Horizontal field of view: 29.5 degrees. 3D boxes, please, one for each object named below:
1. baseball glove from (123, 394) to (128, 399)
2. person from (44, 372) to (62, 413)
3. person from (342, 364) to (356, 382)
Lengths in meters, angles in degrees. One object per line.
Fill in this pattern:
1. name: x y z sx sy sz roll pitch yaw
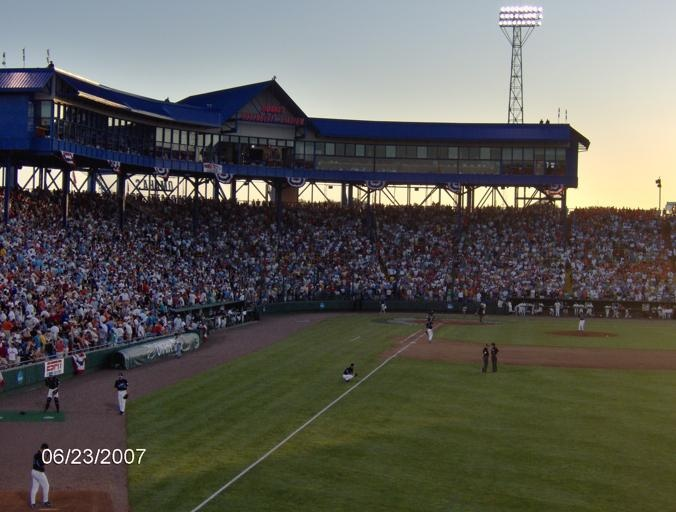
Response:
1. baseball glove: -11.835 7.726 71.093 0.190 0.271 0.272 7 18 3
2. person: -15.954 7.512 71.349 0.834 2.006 1.352 2 10 -13
3. person: 0.743 6.841 77.219 0.715 1.022 1.982 5 10 5
